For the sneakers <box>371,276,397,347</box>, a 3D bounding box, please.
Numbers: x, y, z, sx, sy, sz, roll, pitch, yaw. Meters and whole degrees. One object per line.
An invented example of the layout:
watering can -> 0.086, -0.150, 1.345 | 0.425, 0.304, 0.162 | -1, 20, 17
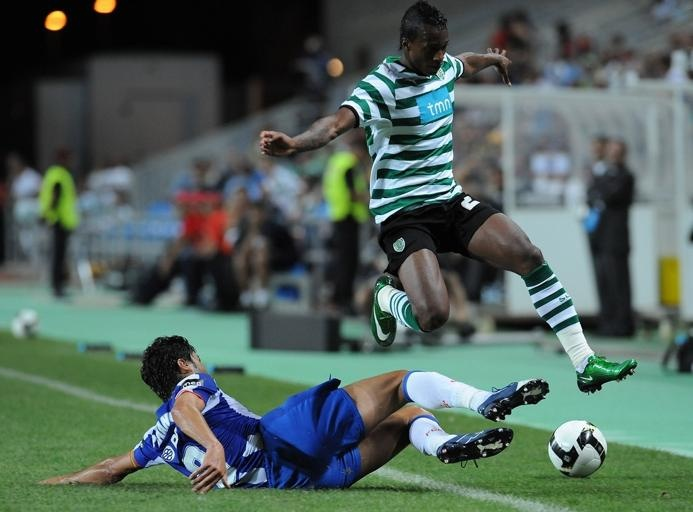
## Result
sneakers -> 0.260, 0.405, 6.782 | 0.180, 0.549, 0.214 | -2, 23, -5

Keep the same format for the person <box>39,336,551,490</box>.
person -> -0.169, 0.998, 5.460 | 2.116, 0.825, 1.315 | 1, -14, -26

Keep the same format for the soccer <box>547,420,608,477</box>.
soccer -> 1.449, 1.233, 5.818 | 0.371, 0.415, 0.375 | 8, 14, 12
